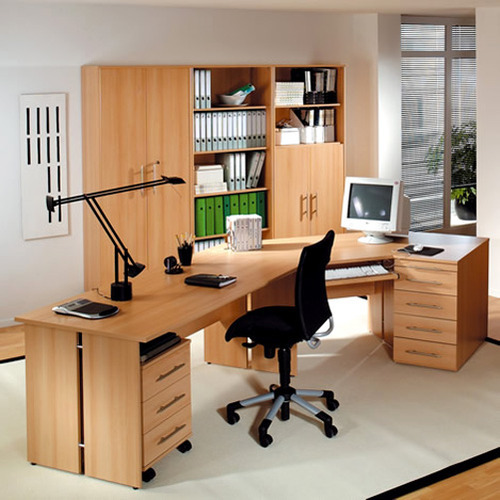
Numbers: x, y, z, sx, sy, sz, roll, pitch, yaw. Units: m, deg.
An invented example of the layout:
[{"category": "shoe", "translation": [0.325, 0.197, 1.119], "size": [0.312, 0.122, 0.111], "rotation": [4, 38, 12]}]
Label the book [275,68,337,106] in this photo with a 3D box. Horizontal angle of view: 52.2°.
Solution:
[{"category": "book", "translation": [0.600, -1.680, 5.299], "size": [0.497, 0.460, 0.256], "rotation": [-2, 7, -15]}]

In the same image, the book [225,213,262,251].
[{"category": "book", "translation": [-0.057, -0.152, 3.711], "size": [0.313, 0.292, 0.230], "rotation": [-2, 10, -9]}]

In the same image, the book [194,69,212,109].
[{"category": "book", "translation": [-0.440, -1.480, 4.741], "size": [0.173, 0.354, 0.054], "rotation": [-9, 12, -38]}]

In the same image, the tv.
[{"category": "tv", "translation": [0.975, -0.321, 3.937], "size": [0.449, 0.456, 0.359], "rotation": [7, 12, 33]}]

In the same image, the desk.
[{"category": "desk", "translation": [0.260, 0.442, 3.355], "size": [3.304, 0.866, 1.282], "rotation": [-8, 12, -35]}]
